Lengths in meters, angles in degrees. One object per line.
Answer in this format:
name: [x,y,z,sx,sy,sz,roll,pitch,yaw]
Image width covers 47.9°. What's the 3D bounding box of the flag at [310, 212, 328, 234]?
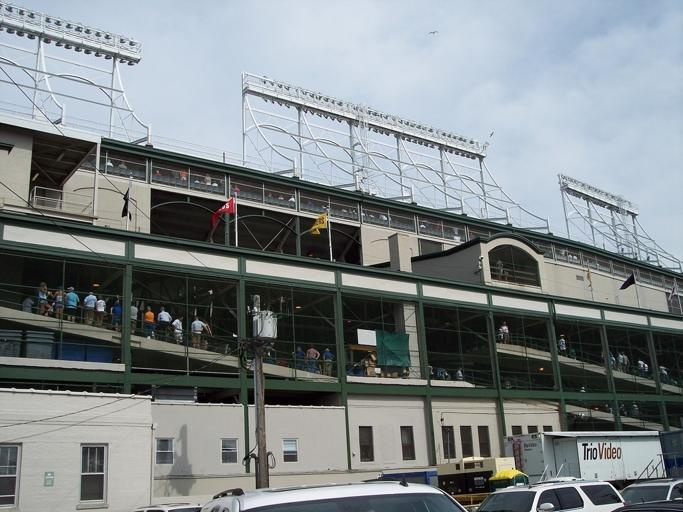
flag: [-1.604,-2.320,53.069,1.157,1.181,1.258,31,-42,-35]
